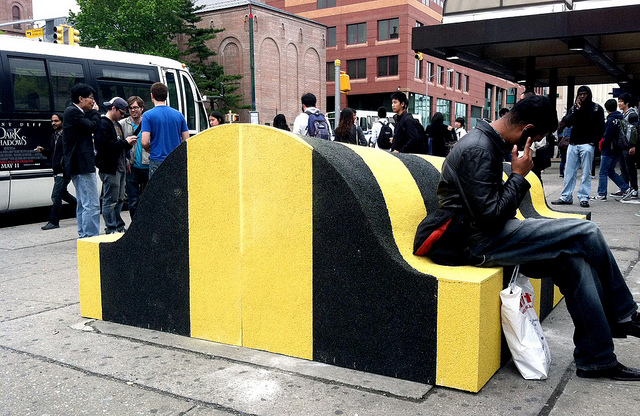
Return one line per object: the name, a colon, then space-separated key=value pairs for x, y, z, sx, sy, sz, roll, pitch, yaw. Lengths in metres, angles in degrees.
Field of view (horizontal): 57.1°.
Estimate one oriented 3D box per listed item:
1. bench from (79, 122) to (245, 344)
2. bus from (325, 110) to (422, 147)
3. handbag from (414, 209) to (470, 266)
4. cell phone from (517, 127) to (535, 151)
bench: x=-1.841 y=0.306 z=6.793 sx=2.511 sy=2.508 sz=1.320 roll=5 pitch=2 yaw=21
bus: x=2.428 y=-4.224 z=29.183 sx=2.169 sy=2.184 sz=7.479 roll=1 pitch=4 yaw=30
handbag: x=1.228 y=0.236 z=5.849 sx=0.511 sy=0.505 sz=0.536 roll=5 pitch=12 yaw=35
cell phone: x=2.003 y=-0.679 z=5.712 sx=0.055 sy=0.252 sz=0.127 roll=12 pitch=11 yaw=42
